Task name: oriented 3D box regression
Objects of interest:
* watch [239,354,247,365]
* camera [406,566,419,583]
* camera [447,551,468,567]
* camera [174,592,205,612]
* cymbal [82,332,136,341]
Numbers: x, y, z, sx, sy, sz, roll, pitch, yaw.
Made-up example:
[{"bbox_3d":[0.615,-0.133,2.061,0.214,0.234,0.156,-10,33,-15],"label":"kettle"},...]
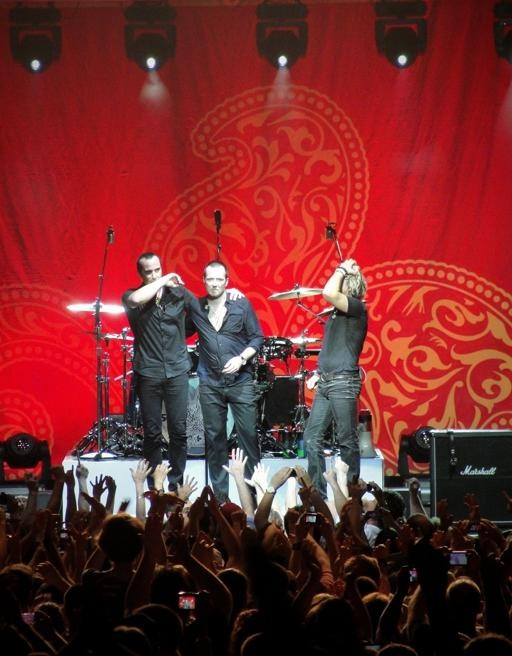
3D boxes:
[{"bbox_3d":[-0.070,0.165,3.444,0.047,0.050,0.035,-6,5,36],"label":"watch"},{"bbox_3d":[0.326,0.514,1.405,0.018,0.030,0.043,-4,-16,12],"label":"camera"},{"bbox_3d":[0.433,0.495,1.446,0.029,0.032,0.097,-7,-17,21],"label":"camera"},{"bbox_3d":[-0.136,0.547,1.348,0.071,0.045,0.037,0,-2,5],"label":"camera"},{"bbox_3d":[-1.011,0.062,4.980,0.221,0.053,0.234,-1,-2,22],"label":"cymbal"}]
